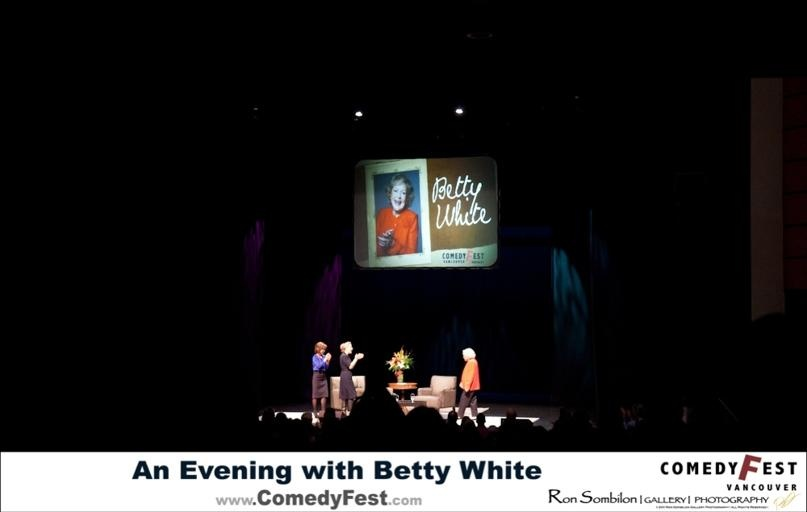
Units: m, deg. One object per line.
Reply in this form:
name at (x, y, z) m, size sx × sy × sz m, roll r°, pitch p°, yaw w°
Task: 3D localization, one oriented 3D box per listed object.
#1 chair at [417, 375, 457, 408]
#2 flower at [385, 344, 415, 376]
chair at (0.533, 2.303, 11.533) m, size 0.602 × 0.586 × 0.570 m, roll 6°, pitch -7°, yaw -41°
flower at (-0.091, 1.864, 12.471) m, size 0.508 × 0.507 × 0.737 m, roll 0°, pitch -9°, yaw 7°
